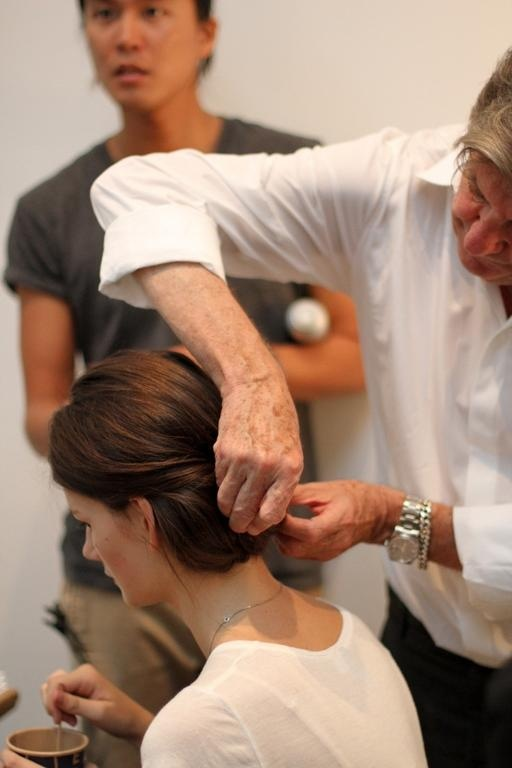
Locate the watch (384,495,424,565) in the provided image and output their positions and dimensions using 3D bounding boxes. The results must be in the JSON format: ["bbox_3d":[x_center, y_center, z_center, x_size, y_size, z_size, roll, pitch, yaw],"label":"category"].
[{"bbox_3d":[0.227,0.232,1.187,0.057,0.077,0.078,12,18,16],"label":"watch"}]
